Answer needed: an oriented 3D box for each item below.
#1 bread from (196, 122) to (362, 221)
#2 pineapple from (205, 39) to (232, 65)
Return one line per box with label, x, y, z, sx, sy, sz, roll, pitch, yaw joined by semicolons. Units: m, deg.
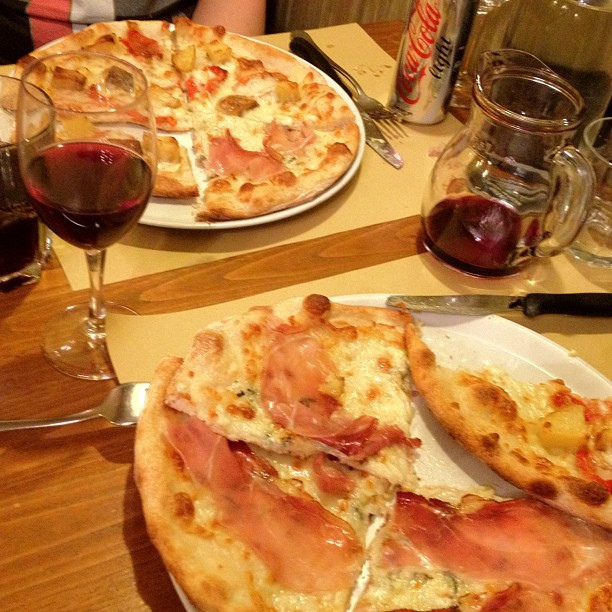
bread;-0.029;-0.256;1.119;0.470;0.062;0.173;-30;55;-35
pineapple;-0.231;-0.649;1.513;0.066;0.029;0.059;30;71;-1
